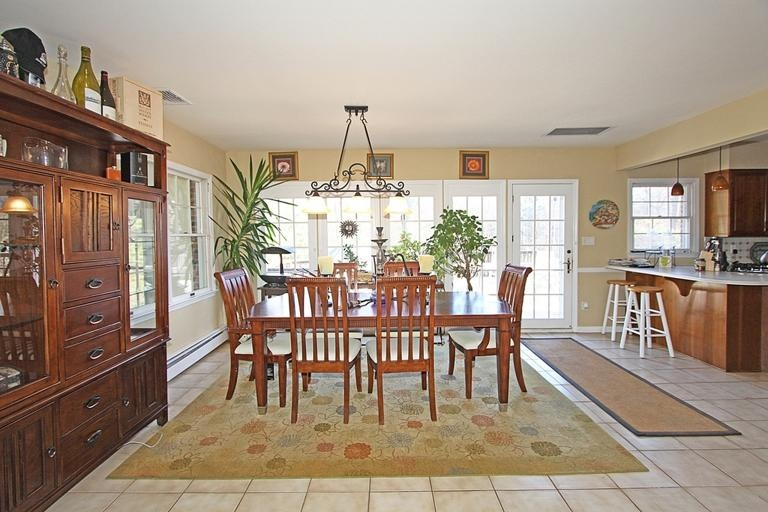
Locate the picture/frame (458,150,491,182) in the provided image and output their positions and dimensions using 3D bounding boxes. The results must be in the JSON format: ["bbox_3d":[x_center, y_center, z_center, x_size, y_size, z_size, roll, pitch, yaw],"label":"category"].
[{"bbox_3d":[1.299,-1.341,7.180,0.533,0.461,0.049,0,-1,-4],"label":"picture/frame"}]

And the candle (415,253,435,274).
[{"bbox_3d":[0.427,0.082,5.099,0.200,0.193,0.187,0,3,9],"label":"candle"}]

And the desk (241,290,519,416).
[{"bbox_3d":[0.289,0.747,5.102,2.031,0.683,1.270,-1,-2,-1],"label":"desk"}]

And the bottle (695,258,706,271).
[{"bbox_3d":[4.106,0.108,6.467,0.179,0.161,0.132,4,4,35],"label":"bottle"}]

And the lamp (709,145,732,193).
[{"bbox_3d":[4.576,-1.188,6.731,0.203,0.582,0.909,0,3,34],"label":"lamp"}]

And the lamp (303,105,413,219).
[{"bbox_3d":[-0.327,-1.122,5.730,1.472,1.167,0.332,-6,14,-35],"label":"lamp"}]

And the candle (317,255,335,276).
[{"bbox_3d":[-0.579,0.096,4.820,0.138,0.186,0.287,-3,3,-11],"label":"candle"}]
